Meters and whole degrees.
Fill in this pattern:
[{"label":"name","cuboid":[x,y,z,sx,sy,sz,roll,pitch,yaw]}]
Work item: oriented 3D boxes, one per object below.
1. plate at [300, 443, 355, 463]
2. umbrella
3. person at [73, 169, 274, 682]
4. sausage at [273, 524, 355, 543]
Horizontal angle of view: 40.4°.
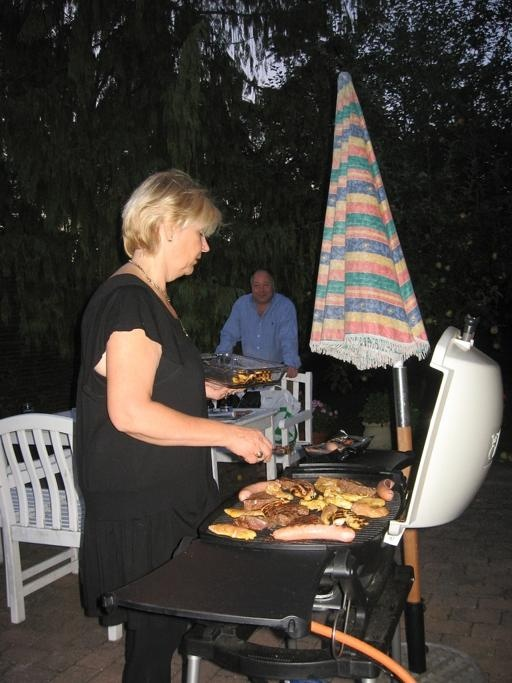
[{"label":"plate","cuboid":[0.237,0.372,2.292,0.103,0.038,0.079,-7,3,-1]},{"label":"umbrella","cuboid":[0.368,-0.412,2.303,0.311,0.997,0.366,-9,13,-37]},{"label":"person","cuboid":[-0.237,0.145,1.766,0.464,1.170,0.425,-4,11,-16]},{"label":"sausage","cuboid":[0.130,0.430,1.564,0.179,0.030,0.049,1,9,10]}]
